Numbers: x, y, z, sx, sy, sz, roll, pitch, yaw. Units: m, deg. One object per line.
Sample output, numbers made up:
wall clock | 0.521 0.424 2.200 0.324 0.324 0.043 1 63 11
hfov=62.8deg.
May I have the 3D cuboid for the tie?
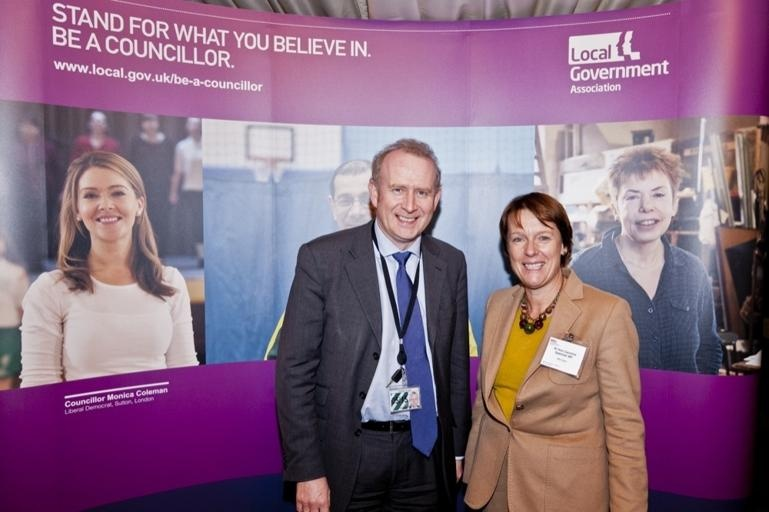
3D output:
tie | 0.209 0.646 4.207 0.189 1.432 0.159 -4 -11 -3
